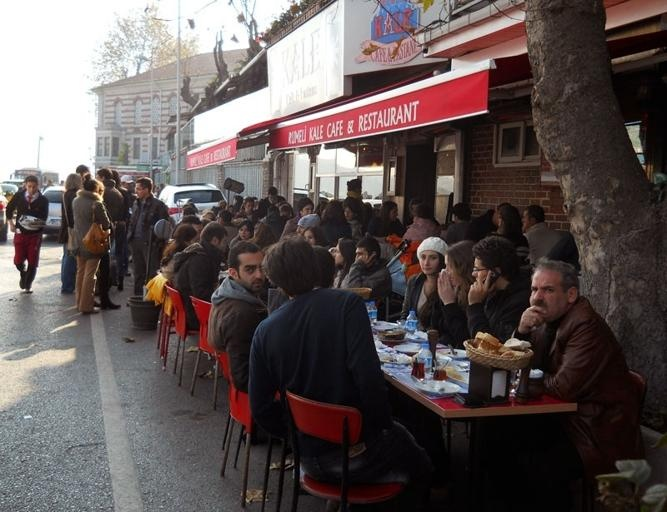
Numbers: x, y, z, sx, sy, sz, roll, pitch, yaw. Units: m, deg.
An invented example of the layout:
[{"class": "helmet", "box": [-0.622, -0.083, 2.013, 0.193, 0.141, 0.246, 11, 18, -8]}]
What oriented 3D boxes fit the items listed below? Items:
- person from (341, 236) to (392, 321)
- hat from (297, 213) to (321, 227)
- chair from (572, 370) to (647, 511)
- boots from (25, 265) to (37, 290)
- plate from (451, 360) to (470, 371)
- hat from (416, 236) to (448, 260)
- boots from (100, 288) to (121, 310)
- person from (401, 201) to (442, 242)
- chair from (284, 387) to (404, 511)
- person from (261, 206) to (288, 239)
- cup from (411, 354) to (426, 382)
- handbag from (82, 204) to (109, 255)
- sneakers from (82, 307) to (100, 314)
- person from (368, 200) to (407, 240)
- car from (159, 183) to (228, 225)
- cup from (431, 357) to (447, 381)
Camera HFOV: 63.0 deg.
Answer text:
[{"class": "person", "box": [0.411, 0.415, 7.284, 0.766, 1.262, 0.766, 5, 6, 2]}, {"class": "hat", "box": [-0.437, -0.656, 9.977, 0.372, 0.245, 0.271, -6, 12, -24]}, {"class": "chair", "box": [1.789, 1.195, 3.506, 0.445, 0.892, 0.212, -1, 4, -10]}, {"class": "boots", "box": [-6.635, 0.457, 11.870, 0.493, 0.557, 0.200, 2, 1, 44]}, {"class": "plate", "box": [0.983, 0.845, 4.208, 0.144, 0.039, 0.156, 2, 5, 20]}, {"class": "hat", "box": [1.034, -0.090, 5.777, 0.222, 0.205, 0.242, 2, -1, 0]}, {"class": "boots", "box": [-4.420, 0.860, 10.600, 0.560, 0.468, 0.219, -2, 6, -35]}, {"class": "person", "box": [1.612, -0.713, 9.370, 0.762, 0.512, 0.824, 2, -28, 10]}, {"class": "chair", "box": [0.064, 1.223, 3.326, 0.700, 0.810, 0.393, 0, 4, 9]}, {"class": "person", "box": [-1.397, -0.825, 12.936, 0.675, 1.009, 0.393, -4, -11, -8]}, {"class": "cup", "box": [0.600, 0.817, 3.948, 0.079, 0.142, 0.142, 0, -15, 3]}, {"class": "handbag", "box": [-4.485, -0.518, 10.208, 0.487, 1.046, 0.306, -3, 4, -28]}, {"class": "sneakers", "box": [-4.549, 1.027, 10.168, 0.276, 0.130, 0.103, -5, 10, -23]}, {"class": "person", "box": [1.067, -0.632, 10.966, 0.511, 0.967, 0.911, 2, -5, 39]}, {"class": "car", "box": [-4.961, -1.539, 18.940, 1.683, 1.463, 3.740, -1, 10, -19]}, {"class": "cup", "box": [0.757, 0.828, 3.888, 0.081, 0.141, 0.137, 0, -1, 2]}]
